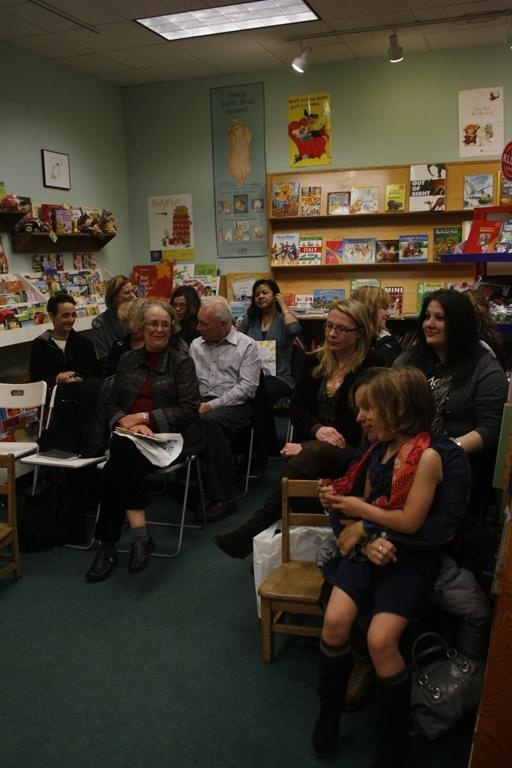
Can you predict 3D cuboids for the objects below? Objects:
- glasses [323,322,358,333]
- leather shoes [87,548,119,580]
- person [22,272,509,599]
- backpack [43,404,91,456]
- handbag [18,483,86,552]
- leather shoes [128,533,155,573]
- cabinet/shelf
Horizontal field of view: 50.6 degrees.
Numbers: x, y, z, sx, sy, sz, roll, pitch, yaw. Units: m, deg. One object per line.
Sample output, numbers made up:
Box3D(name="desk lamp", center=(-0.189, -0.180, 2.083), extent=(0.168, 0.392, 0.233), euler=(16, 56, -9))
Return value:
Box3D(name="glasses", center=(0.399, -0.270, 2.536), extent=(0.095, 0.030, 0.100), euler=(7, 3, 43))
Box3D(name="leather shoes", center=(-0.737, 0.864, 2.590), extent=(0.070, 0.087, 0.191), euler=(2, 3, 7))
Box3D(name="person", center=(0.207, 0.169, 2.953), extent=(1.566, 1.667, 0.943), euler=(4, -10, -1))
Box3D(name="backpack", center=(-1.019, 0.260, 2.986), extent=(0.253, 0.252, 0.092), euler=(6, -24, 16))
Box3D(name="handbag", center=(-1.126, 0.760, 3.030), extent=(0.399, 0.389, 0.290), euler=(0, -9, -5))
Box3D(name="leather shoes", center=(-0.583, 0.792, 2.615), extent=(0.089, 0.104, 0.230), euler=(-2, 29, 9))
Box3D(name="cabinet/shelf", center=(1.148, -1.060, 4.543), extent=(1.507, 0.684, 0.219), euler=(0, -1, 18))
